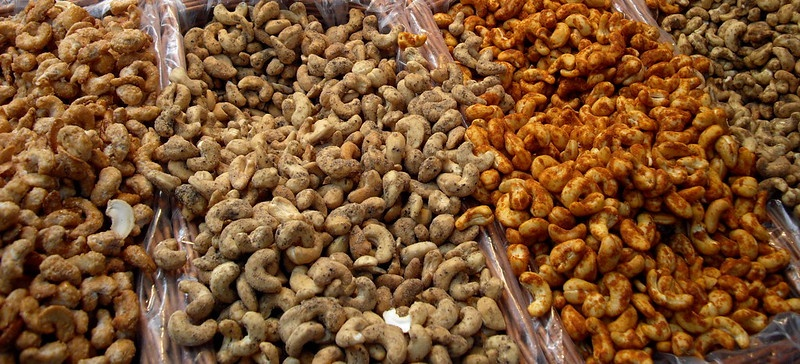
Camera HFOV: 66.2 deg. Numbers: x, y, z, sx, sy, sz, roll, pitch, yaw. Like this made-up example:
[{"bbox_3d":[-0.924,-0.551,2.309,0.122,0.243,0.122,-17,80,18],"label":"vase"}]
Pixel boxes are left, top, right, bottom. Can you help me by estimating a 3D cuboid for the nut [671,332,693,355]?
[{"bbox_3d":[1.969,1.115,4.313,0.157,0.139,0.080,-4,-8,-1],"label":"nut"}]
